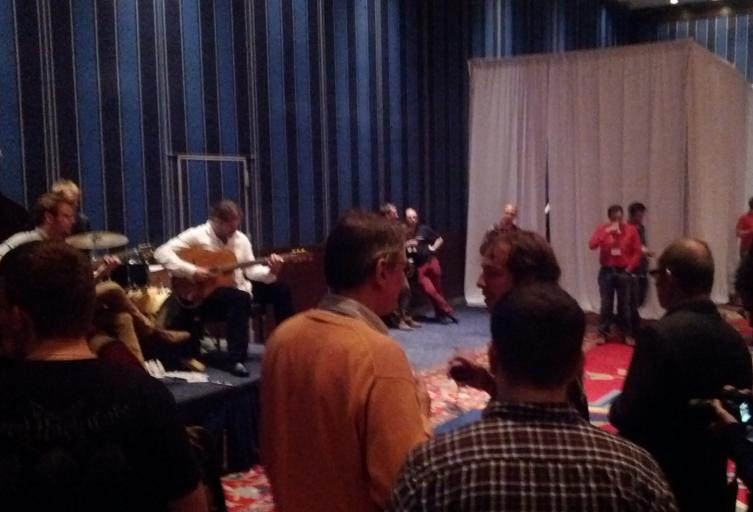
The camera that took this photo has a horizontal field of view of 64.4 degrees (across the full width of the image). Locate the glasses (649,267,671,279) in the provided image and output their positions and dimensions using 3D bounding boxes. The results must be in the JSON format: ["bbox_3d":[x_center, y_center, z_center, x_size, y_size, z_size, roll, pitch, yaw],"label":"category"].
[{"bbox_3d":[1.367,0.084,2.902,0.115,0.040,0.120,1,6,44],"label":"glasses"}]

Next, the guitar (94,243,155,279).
[{"bbox_3d":[-2.046,0.050,4.922,0.169,0.261,0.623,-1,-14,-45],"label":"guitar"}]

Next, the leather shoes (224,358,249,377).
[{"bbox_3d":[-1.119,0.912,4.837,0.056,0.095,0.329,5,-2,-27],"label":"leather shoes"}]

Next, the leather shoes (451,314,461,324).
[{"bbox_3d":[1.177,0.958,8.963,0.095,0.158,0.062,-6,38,53],"label":"leather shoes"}]

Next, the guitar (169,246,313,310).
[{"bbox_3d":[-1.237,0.135,5.401,1.042,0.487,0.160,-6,-11,-27],"label":"guitar"}]

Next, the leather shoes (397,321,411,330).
[{"bbox_3d":[0.386,0.995,8.401,0.191,0.147,0.081,-1,0,29],"label":"leather shoes"}]

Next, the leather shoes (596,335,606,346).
[{"bbox_3d":[2.834,1.076,7.607,0.109,0.038,0.114,-7,18,-17],"label":"leather shoes"}]

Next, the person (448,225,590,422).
[{"bbox_3d":[0.586,0.221,2.902,0.703,1.151,0.691,-1,7,-5],"label":"person"}]

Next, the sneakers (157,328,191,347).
[{"bbox_3d":[-1.577,0.625,4.662,0.156,0.058,0.159,7,-1,32],"label":"sneakers"}]
